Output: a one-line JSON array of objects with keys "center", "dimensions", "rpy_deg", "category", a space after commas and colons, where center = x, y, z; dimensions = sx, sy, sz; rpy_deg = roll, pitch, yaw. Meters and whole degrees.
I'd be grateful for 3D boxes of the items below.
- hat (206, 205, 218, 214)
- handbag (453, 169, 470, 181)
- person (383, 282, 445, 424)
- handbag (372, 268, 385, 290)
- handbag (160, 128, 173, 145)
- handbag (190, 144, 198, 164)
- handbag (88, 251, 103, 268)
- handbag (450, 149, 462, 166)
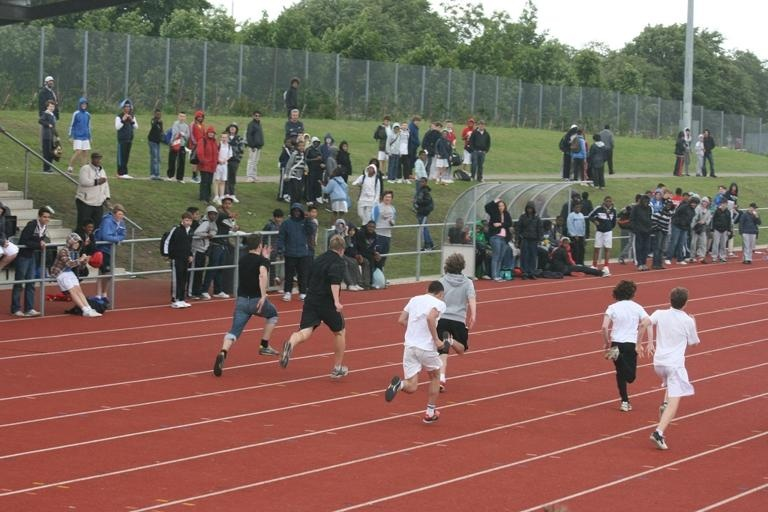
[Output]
[{"center": [-4.347, -1.164, 26.590], "dimensions": [0.221, 0.201, 0.314], "rpy_deg": [1, 0, -25], "category": "hat"}, {"center": [3.111, -3.161, 41.565], "dimensions": [0.471, 0.554, 0.396], "rpy_deg": [-1, 34, 26], "category": "handbag"}, {"center": [0.619, 1.746, 19.309], "dimensions": [0.925, 2.510, 1.248], "rpy_deg": [3, 14, 3], "category": "person"}, {"center": [-0.151, 0.689, 28.971], "dimensions": [0.499, 0.651, 0.362], "rpy_deg": [1, 13, -4], "category": "handbag"}, {"center": [-7.048, -3.885, 34.222], "dimensions": [0.188, 0.506, 0.364], "rpy_deg": [13, 1, -8], "category": "handbag"}, {"center": [-5.913, -3.177, 32.912], "dimensions": [0.285, 0.739, 0.724], "rpy_deg": [0, 4, -16], "category": "handbag"}, {"center": [-6.820, 0.098, 24.919], "dimensions": [0.138, 0.265, 0.278], "rpy_deg": [8, 36, 22], "category": "handbag"}, {"center": [2.737, -3.718, 40.202], "dimensions": [0.512, 0.521, 0.529], "rpy_deg": [3, 2, 17], "category": "handbag"}]
